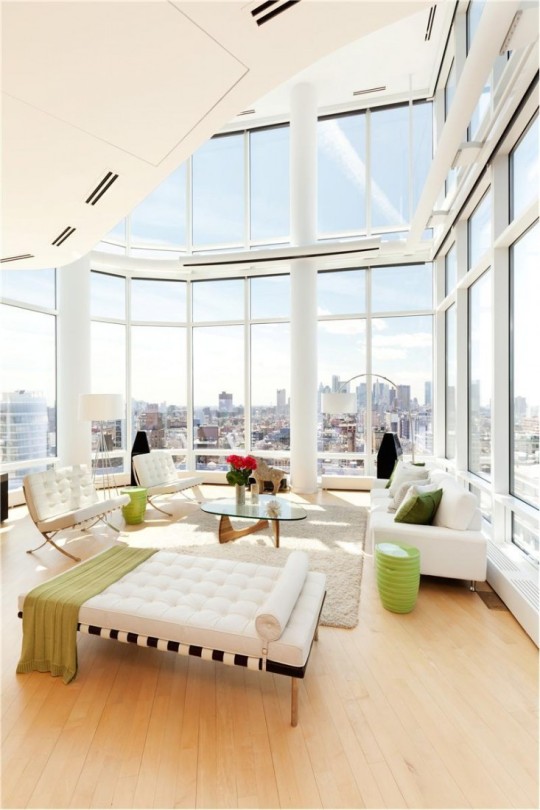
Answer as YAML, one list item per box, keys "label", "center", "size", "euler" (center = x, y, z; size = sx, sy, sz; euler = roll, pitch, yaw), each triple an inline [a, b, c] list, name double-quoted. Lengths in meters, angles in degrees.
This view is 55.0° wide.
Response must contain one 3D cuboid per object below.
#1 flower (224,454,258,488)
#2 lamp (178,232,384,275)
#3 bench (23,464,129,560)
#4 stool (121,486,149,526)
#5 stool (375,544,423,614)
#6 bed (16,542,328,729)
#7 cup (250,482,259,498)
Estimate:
- label: "flower"
  center: [-0.247, 0.653, 5.281]
  size: [0.285, 0.430, 0.335]
  euler: [-4, -6, 45]
- label: "lamp"
  center: [0.219, -2.076, 7.149]
  size: [2.558, 0.181, 0.275]
  euler: [1, 3, 19]
- label: "bench"
  center: [-1.758, 1.007, 5.096]
  size: [0.496, 0.792, 1.037]
  euler: [-4, -1, 11]
- label: "stool"
  center: [-1.392, 1.128, 5.726]
  size: [0.289, 0.419, 0.318]
  euler: [0, -5, -3]
- label: "stool"
  center: [0.834, 1.196, 3.613]
  size: [0.351, 0.586, 0.346]
  euler: [-1, -1, 1]
- label: "bed"
  center: [-0.492, 1.202, 2.943]
  size: [1.582, 0.520, 0.788]
  euler: [1, 3, 17]
- label: "cup"
  center: [-0.112, 0.889, 5.424]
  size: [0.102, 0.234, 0.113]
  euler: [0, 0, -2]
